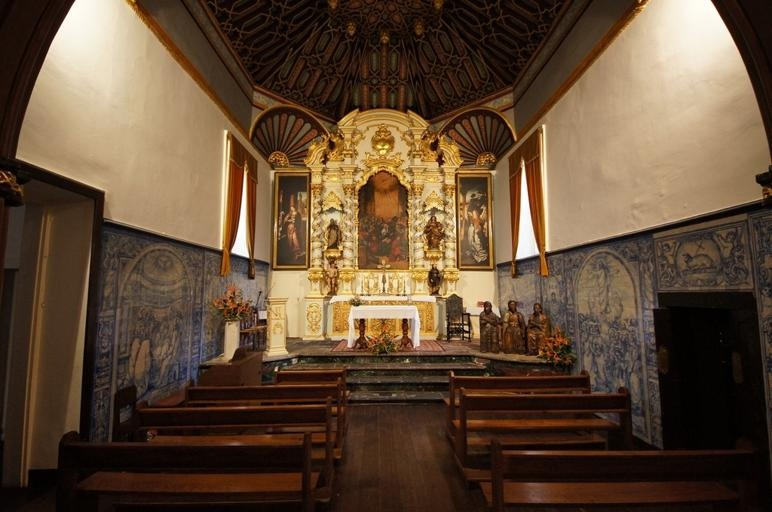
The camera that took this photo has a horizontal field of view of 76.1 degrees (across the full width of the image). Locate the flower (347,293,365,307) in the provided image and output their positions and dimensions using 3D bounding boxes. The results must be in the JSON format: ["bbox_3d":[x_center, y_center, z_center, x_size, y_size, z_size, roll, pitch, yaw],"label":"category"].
[{"bbox_3d":[-0.714,1.012,11.400,0.222,0.236,0.229,-1,-19,3],"label":"flower"}]

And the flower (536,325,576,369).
[{"bbox_3d":[3.084,1.644,9.141,0.615,0.684,0.573,4,7,9],"label":"flower"}]

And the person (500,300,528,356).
[{"bbox_3d":[2.574,1.454,10.011,0.498,1.020,0.331,-1,-9,11],"label":"person"}]

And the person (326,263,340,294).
[{"bbox_3d":[-1.444,0.604,13.164,0.326,0.886,0.274,1,-9,-6],"label":"person"}]

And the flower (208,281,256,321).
[{"bbox_3d":[-2.995,0.901,9.635,0.636,0.717,0.687,5,-11,-20],"label":"flower"}]

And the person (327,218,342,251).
[{"bbox_3d":[-1.433,-0.555,13.162,0.348,0.778,0.167,1,-9,-5],"label":"person"}]

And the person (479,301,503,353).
[{"bbox_3d":[2.185,1.496,10.415,0.446,1.050,0.344,-1,-9,10],"label":"person"}]

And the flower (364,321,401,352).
[{"bbox_3d":[-0.117,1.802,10.747,0.552,0.517,0.558,4,-25,5],"label":"flower"}]

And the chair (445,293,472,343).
[{"bbox_3d":[1.794,1.539,12.439,0.593,1.159,0.907,-1,-9,7],"label":"chair"}]

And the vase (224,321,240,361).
[{"bbox_3d":[-2.939,1.592,9.376,0.262,0.740,0.234,5,-10,-28],"label":"vase"}]
